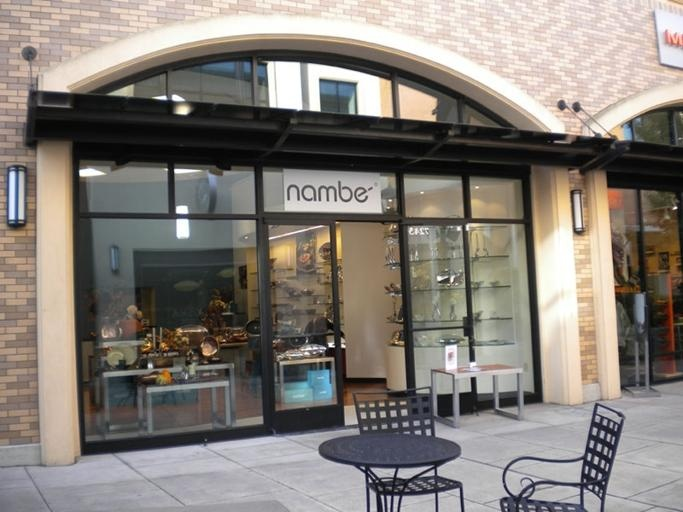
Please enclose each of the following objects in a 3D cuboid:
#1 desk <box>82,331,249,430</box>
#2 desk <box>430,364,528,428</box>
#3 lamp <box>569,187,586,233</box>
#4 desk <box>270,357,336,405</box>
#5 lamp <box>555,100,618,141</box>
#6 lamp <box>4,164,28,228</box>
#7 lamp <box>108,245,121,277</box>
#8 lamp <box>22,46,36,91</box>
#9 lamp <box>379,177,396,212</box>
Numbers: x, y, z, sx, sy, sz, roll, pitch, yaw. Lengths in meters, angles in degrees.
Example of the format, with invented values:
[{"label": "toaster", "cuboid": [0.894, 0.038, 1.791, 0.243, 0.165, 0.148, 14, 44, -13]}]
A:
[{"label": "desk", "cuboid": [-2.664, 1.814, 9.916, 1.787, 1.059, 1.511, 0, -5, -19]}, {"label": "desk", "cuboid": [2.140, 2.171, 10.503, 1.252, 0.668, 0.701, 3, -8, -25]}, {"label": "lamp", "cuboid": [4.133, -0.758, 11.566, 0.306, 0.785, 0.147, -2, 3, -17]}, {"label": "desk", "cuboid": [-0.375, 2.018, 10.319, 1.079, 0.774, 0.596, -10, -23, 18]}, {"label": "lamp", "cuboid": [4.253, -2.388, 11.603, 1.052, 0.647, 0.394, -2, 3, -25]}, {"label": "lamp", "cuboid": [-4.201, -0.767, 8.631, 0.256, 0.798, 0.142, -2, 3, -20]}, {"label": "lamp", "cuboid": [-3.142, 0.051, 9.275, 0.140, 0.396, 0.048, -2, 3, -19]}, {"label": "lamp", "cuboid": [-4.052, -2.466, 8.706, 0.193, 0.583, 0.259, -2, 3, -23]}, {"label": "lamp", "cuboid": [0.770, -0.993, 10.706, 0.283, 0.607, 0.098, -3, 3, -33]}]
